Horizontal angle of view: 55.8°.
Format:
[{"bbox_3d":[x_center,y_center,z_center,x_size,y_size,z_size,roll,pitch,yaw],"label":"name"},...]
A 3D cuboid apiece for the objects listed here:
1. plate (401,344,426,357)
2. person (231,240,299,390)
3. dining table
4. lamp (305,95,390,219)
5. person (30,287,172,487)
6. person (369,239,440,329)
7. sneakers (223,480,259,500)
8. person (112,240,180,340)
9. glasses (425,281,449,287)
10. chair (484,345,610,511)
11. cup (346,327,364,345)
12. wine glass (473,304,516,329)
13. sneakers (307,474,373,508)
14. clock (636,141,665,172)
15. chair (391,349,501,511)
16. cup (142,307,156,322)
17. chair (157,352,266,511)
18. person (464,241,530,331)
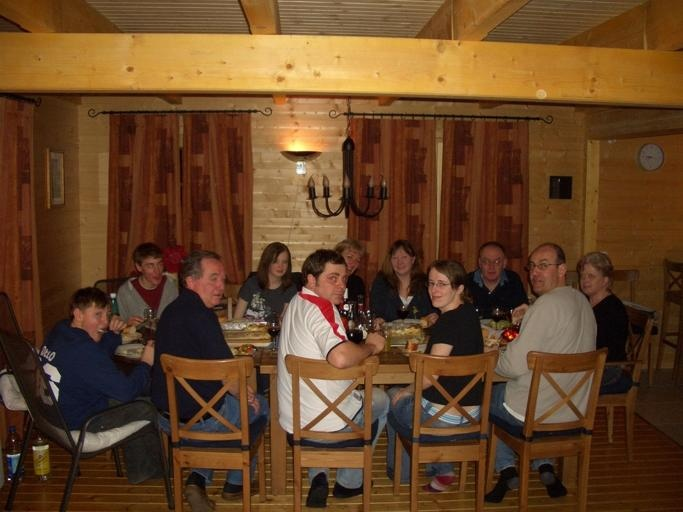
[{"bbox_3d":[0.554,0.704,4.825,0.149,0.062,0.089,-7,-4,11],"label":"plate"},{"bbox_3d":[-0.658,0.613,5.955,0.575,1.475,0.468,-6,25,-30],"label":"person"},{"bbox_3d":[-0.061,1.276,5.350,2.095,1.034,1.542,0,0,1],"label":"dining table"},{"bbox_3d":[0.073,-1.095,7.222,0.956,1.386,0.681,1,6,1],"label":"lamp"},{"bbox_3d":[-1.723,1.017,4.693,0.775,1.450,0.805,-3,6,42],"label":"person"},{"bbox_3d":[0.546,0.241,5.974,0.742,1.117,0.678,-1,1,2],"label":"person"},{"bbox_3d":[-0.728,1.723,4.830,0.334,0.143,0.122,-1,2,-17],"label":"sneakers"},{"bbox_3d":[-1.723,0.303,5.731,0.418,0.749,0.619,27,30,37],"label":"person"},{"bbox_3d":[0.675,0.192,4.503,0.154,0.048,0.041,6,8,38],"label":"glasses"},{"bbox_3d":[1.426,1.216,4.494,0.715,1.198,0.412,3,6,17],"label":"chair"},{"bbox_3d":[0.100,0.574,4.665,0.103,0.078,0.098,0,3,0],"label":"cup"},{"bbox_3d":[1.321,0.537,5.446,0.274,0.109,0.278,1,-1,3],"label":"wine glass"},{"bbox_3d":[-0.037,1.676,4.743,0.506,0.203,0.174,-4,9,-22],"label":"sneakers"},{"bbox_3d":[3.635,-1.171,7.580,0.304,0.312,0.070,0,2,-8],"label":"clock"},{"bbox_3d":[0.705,1.225,4.516,0.705,1.232,0.524,2,6,5],"label":"chair"},{"bbox_3d":[-1.545,0.477,5.208,0.102,0.141,0.138,1,-1,-15],"label":"cup"},{"bbox_3d":[-0.866,1.236,4.453,0.668,1.233,0.543,1,6,-4],"label":"chair"},{"bbox_3d":[1.401,0.368,6.076,0.680,0.956,0.532,2,-1,13],"label":"person"}]
